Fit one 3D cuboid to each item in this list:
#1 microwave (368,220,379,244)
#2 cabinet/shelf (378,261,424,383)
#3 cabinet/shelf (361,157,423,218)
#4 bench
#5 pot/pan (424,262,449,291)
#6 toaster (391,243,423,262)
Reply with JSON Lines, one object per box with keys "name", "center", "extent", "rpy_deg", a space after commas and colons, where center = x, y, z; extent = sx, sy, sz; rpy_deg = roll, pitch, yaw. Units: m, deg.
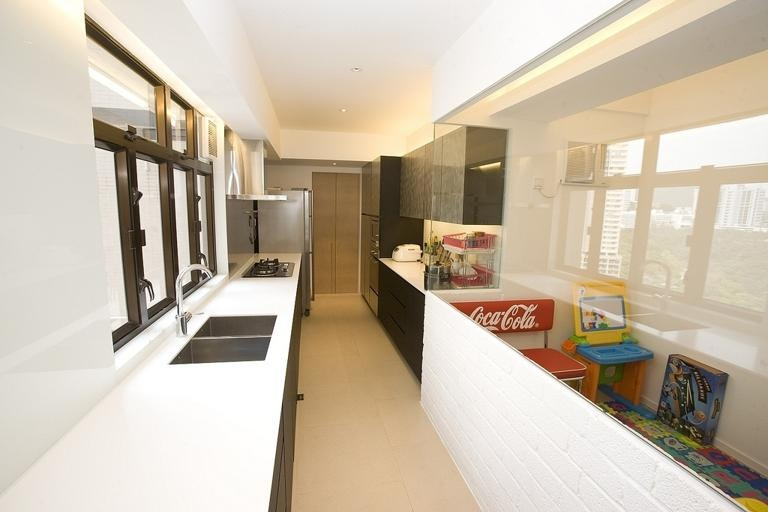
{"name": "microwave", "center": [-0.124, -0.300, 5.784], "extent": [0.164, 0.300, 0.315], "rpy_deg": [0, 4, -4]}
{"name": "cabinet/shelf", "center": [0.156, 0.609, 4.345], "extent": [0.278, 0.336, 0.942], "rpy_deg": [3, 9, -8]}
{"name": "cabinet/shelf", "center": [0.106, -0.767, 5.353], "extent": [0.286, 0.744, 0.875], "rpy_deg": [0, 6, -8]}
{"name": "bench", "center": [0.591, 0.456, 2.204], "extent": [0.626, 0.409, 0.375], "rpy_deg": [2, 11, -23]}
{"name": "pot/pan", "center": [0.372, 0.148, 3.346], "extent": [0.172, 0.175, 0.170], "rpy_deg": [2, 3, -3]}
{"name": "toaster", "center": [0.267, -0.043, 5.300], "extent": [0.221, 0.134, 0.218], "rpy_deg": [1, 3, -8]}
